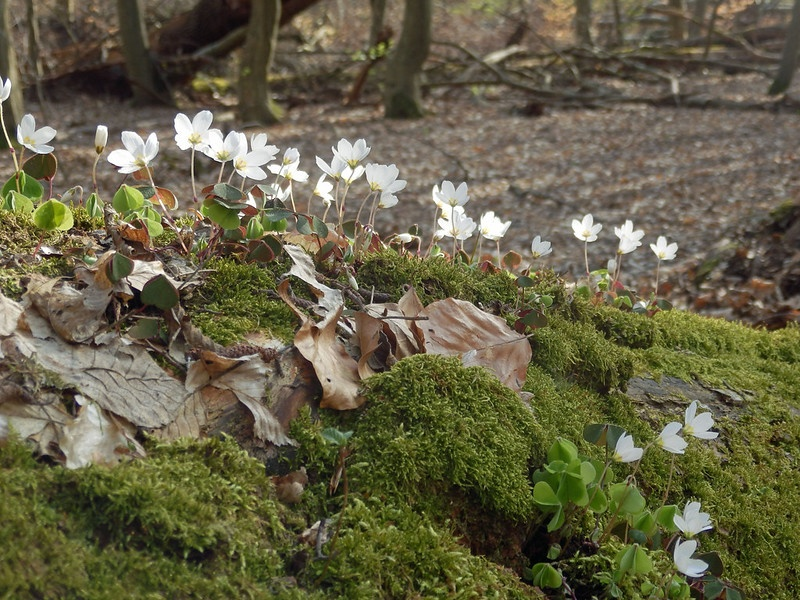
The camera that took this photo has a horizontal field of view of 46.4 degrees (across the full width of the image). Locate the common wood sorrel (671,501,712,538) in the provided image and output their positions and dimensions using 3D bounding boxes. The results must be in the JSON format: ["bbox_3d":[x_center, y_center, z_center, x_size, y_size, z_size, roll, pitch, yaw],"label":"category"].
[{"bbox_3d":[1.576,1.171,5.000,0.214,0.136,0.201,9,26,-23],"label":"common wood sorrel"}]

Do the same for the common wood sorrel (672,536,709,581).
[{"bbox_3d":[1.550,1.332,4.906,0.176,0.261,0.170,14,30,14],"label":"common wood sorrel"}]

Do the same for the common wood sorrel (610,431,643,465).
[{"bbox_3d":[1.236,0.790,5.006,0.170,0.177,0.110,6,-17,-6],"label":"common wood sorrel"}]

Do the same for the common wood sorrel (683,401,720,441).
[{"bbox_3d":[1.621,0.683,5.006,0.135,0.070,0.149,33,2,2],"label":"common wood sorrel"}]
